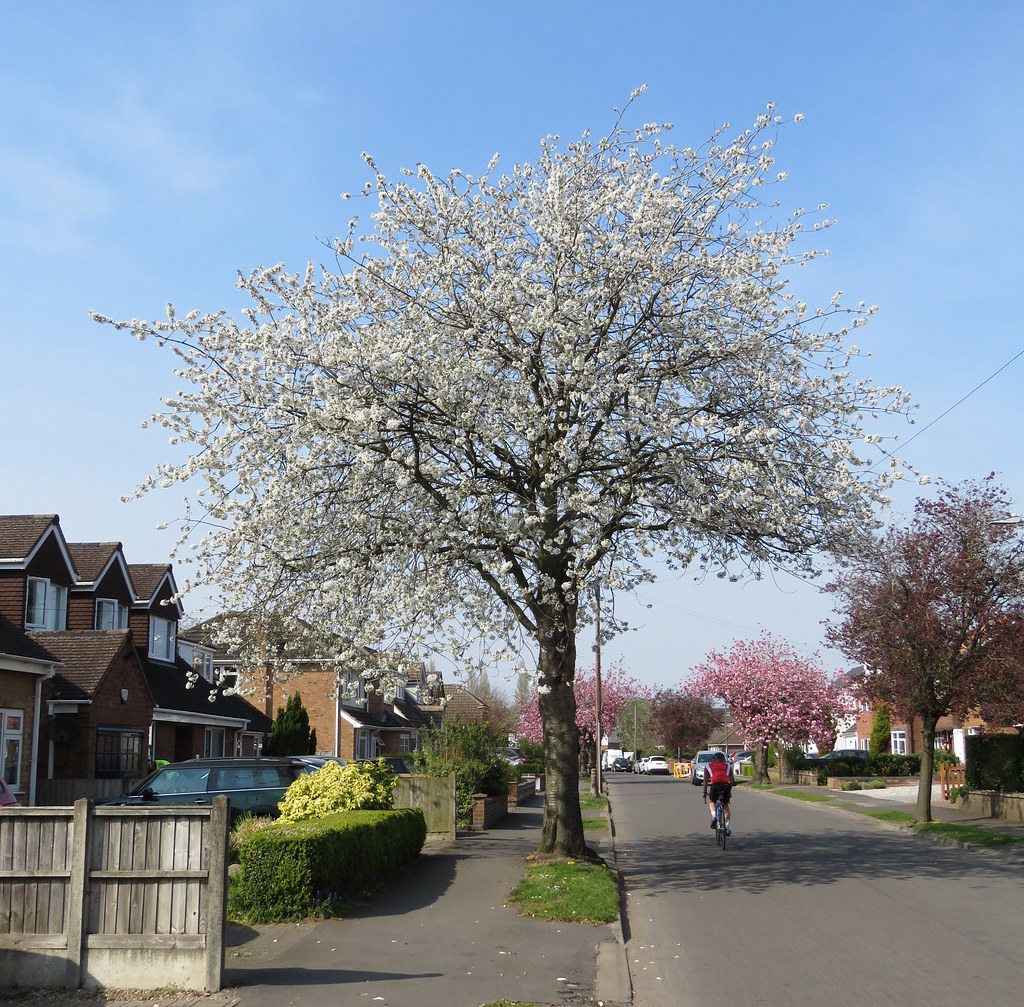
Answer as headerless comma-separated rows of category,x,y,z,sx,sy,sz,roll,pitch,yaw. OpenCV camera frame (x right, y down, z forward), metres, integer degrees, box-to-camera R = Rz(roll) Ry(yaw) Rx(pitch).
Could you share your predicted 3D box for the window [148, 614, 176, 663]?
window,-11.726,4.533,36.296,0.139,1.793,1.325,-31,-46,17
